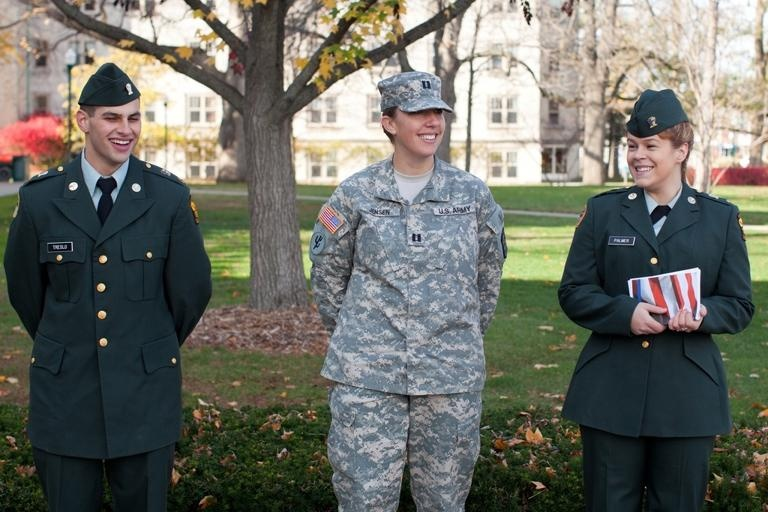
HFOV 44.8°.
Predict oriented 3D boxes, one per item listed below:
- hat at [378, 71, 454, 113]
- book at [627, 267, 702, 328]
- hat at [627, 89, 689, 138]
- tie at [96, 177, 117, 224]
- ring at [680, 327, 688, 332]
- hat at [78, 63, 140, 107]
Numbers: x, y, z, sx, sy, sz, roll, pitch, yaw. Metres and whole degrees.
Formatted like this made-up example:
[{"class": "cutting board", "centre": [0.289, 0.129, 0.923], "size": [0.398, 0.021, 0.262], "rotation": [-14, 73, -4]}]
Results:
[{"class": "hat", "centre": [0.198, -1.107, 6.404], "size": [0.338, 0.195, 0.408], "rotation": [-4, 6, -34]}, {"class": "book", "centre": [1.927, 0.248, 6.300], "size": [0.432, 0.386, 0.154], "rotation": [-3, 5, 27]}, {"class": "hat", "centre": [1.919, -1.004, 6.515], "size": [0.317, 0.213, 0.418], "rotation": [-4, 7, 39]}, {"class": "tie", "centre": [-1.897, -0.387, 6.408], "size": [0.113, 0.318, 0.098], "rotation": [3, -7, -9]}, {"class": "ring", "centre": [2.035, 0.492, 6.310], "size": [0.043, 0.020, 0.052], "rotation": [0, -15, 8]}, {"class": "hat", "centre": [-1.843, -1.136, 6.292], "size": [0.334, 0.164, 0.358], "rotation": [-7, 7, -36]}]
